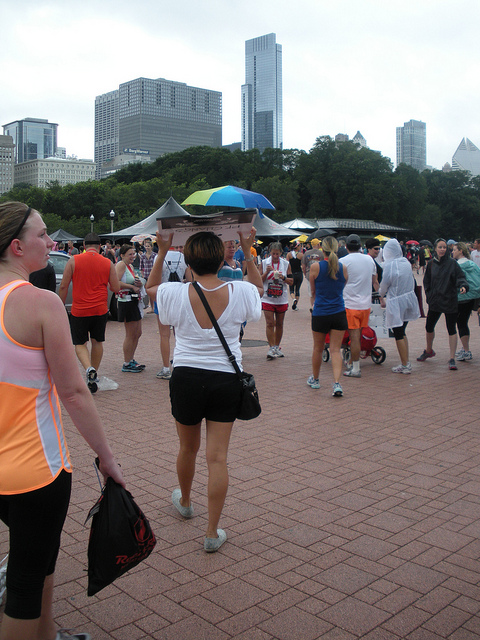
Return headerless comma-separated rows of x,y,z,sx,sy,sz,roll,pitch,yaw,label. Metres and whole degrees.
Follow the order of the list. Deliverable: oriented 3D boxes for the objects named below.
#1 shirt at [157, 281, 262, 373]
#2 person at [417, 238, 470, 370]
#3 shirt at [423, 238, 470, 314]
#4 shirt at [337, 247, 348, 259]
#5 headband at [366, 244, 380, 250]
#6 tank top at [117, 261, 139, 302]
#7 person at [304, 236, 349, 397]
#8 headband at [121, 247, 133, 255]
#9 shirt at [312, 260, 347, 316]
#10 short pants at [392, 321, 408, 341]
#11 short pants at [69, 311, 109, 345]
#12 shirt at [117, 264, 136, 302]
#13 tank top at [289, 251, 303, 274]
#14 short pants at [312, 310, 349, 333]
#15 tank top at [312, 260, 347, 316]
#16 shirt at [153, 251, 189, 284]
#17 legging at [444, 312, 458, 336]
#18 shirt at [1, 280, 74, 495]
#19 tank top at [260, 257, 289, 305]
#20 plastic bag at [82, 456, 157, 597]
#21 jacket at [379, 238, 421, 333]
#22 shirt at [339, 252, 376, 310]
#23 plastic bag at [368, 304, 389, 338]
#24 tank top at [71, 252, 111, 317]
-0.167,0.044,3.168,0.594,0.548,0.321,2,-5,4,shirt
3.228,-0.301,8.918,0.514,2.018,0.898,-2,5,-28,person
3.301,-0.717,8.961,0.623,1.308,0.622,3,9,21,shirt
2.223,-1.470,12.262,0.261,0.162,0.350,-2,7,-2,shirt
2.192,-1.214,9.241,0.174,0.077,0.302,1,5,16,headband
-1.608,-0.570,8.333,0.395,0.732,0.564,-2,11,-10,tank top
1.114,-0.066,7.106,0.489,1.959,0.765,0,4,7,person
-1.638,-1.003,8.124,0.135,0.099,0.074,-1,5,-13,headband
1.126,-0.407,7.075,0.391,0.679,0.398,1,5,10,shirt
2.395,0.161,8.426,0.199,0.292,0.283,1,5,15,short pants
-1.860,0.084,6.849,0.485,0.670,0.391,0,13,-16,short pants
-1.656,-0.540,8.188,0.233,0.534,0.417,1,5,10,shirt
1.621,-1.636,16.607,0.310,0.446,0.658,3,6,36,tank top
1.133,0.031,6.971,0.435,0.313,0.268,-1,21,-5,short pants
1.132,-0.412,7.083,0.358,0.667,0.338,1,7,0,tank top
-0.985,-0.802,8.339,0.344,0.447,0.393,-1,5,-8,shirt
3.365,0.050,8.915,0.171,0.370,0.349,2,5,23,legging
-0.576,0.179,1.656,0.221,0.547,0.305,-5,18,-22,shirt
0.577,-0.652,9.311,0.417,0.766,0.663,0,5,5,tank top
-0.442,0.694,2.022,0.194,0.466,0.280,8,16,39,plastic bag
2.439,-0.528,8.527,0.607,1.433,0.469,0,4,-4,jacket
1.729,-0.585,8.368,0.476,0.944,0.484,3,8,6,shirt
2.196,0.002,8.878,0.514,0.505,0.298,-4,-3,45,plastic bag
-1.900,-0.467,7.153,0.500,0.786,0.518,-2,-3,15,tank top
